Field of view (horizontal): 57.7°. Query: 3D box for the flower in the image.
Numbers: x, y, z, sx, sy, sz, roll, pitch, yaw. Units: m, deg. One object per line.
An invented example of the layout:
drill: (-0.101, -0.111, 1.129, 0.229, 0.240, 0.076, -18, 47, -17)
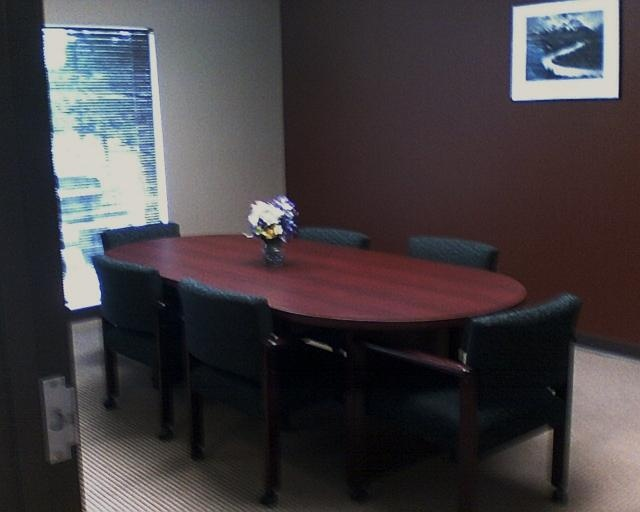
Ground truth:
flower: (-0.242, -0.167, 3.413, 0.330, 0.414, 0.363, -8, 9, -41)
